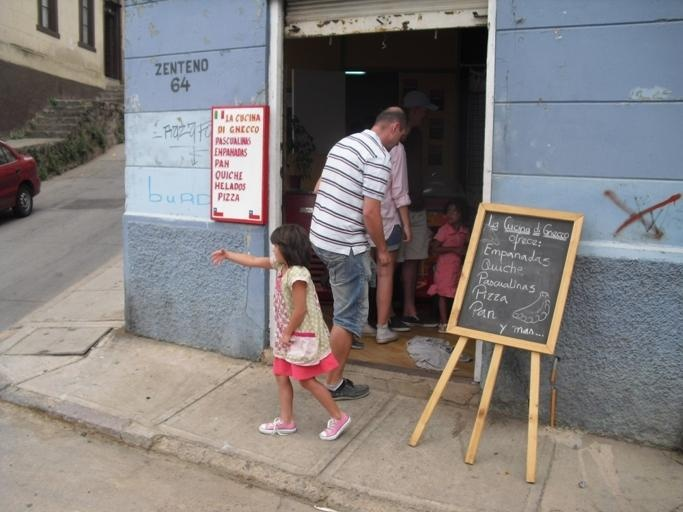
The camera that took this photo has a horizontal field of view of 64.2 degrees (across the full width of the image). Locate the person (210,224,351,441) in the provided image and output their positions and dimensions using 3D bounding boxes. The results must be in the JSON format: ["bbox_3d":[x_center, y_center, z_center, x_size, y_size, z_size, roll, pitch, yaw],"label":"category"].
[{"bbox_3d":[-0.366,0.537,3.923,0.892,1.530,0.365,8,16,21],"label":"person"}]

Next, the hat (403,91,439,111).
[{"bbox_3d":[0.817,-1.637,5.740,0.328,0.175,0.414,4,17,5],"label":"hat"}]

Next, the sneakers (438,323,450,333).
[{"bbox_3d":[1.084,0.766,5.771,0.124,0.122,0.278,0,1,16],"label":"sneakers"}]

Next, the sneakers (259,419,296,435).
[{"bbox_3d":[-0.483,1.254,4.051,0.188,0.087,0.125,3,-6,0],"label":"sneakers"}]

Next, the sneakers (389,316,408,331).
[{"bbox_3d":[0.611,0.728,5.927,0.243,0.104,0.099,7,11,41],"label":"sneakers"}]

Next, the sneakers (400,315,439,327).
[{"bbox_3d":[0.868,0.688,6.067,0.396,0.159,0.154,0,4,8],"label":"sneakers"}]

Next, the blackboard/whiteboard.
[{"bbox_3d":[1.201,0.126,3.805,0.761,0.869,0.513,10,17,24],"label":"blackboard/whiteboard"}]

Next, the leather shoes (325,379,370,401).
[{"bbox_3d":[0.044,1.096,4.543,0.357,0.177,0.144,-3,8,-9],"label":"leather shoes"}]

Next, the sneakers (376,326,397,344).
[{"bbox_3d":[0.453,0.781,5.588,0.108,0.179,0.276,5,12,38],"label":"sneakers"}]

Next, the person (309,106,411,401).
[{"bbox_3d":[0.132,-0.018,4.517,0.754,2.307,0.728,-1,13,-17],"label":"person"}]
